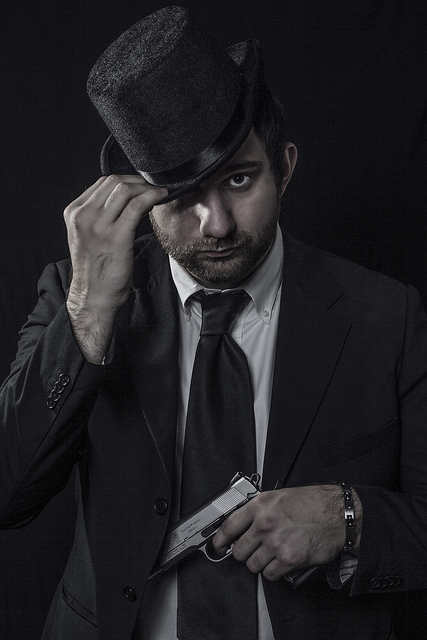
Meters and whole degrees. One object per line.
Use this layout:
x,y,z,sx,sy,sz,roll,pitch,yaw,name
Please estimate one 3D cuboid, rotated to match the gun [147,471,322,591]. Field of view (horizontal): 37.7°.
0.034,0.681,1.934,0.542,0.255,0.130,-14,10,16,gun
